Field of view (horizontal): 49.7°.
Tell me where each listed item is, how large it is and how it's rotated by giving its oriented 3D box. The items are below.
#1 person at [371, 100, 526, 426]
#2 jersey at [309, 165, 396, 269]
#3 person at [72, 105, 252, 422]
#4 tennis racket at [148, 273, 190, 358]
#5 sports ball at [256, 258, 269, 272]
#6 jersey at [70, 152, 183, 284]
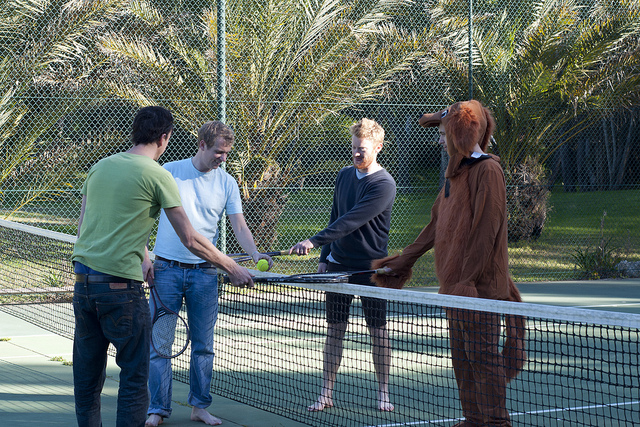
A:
[{"bbox_3d":[1.359,0.472,6.639,1.286,2.543,0.647,4,2,27],"label":"person"},{"bbox_3d":[0.328,0.069,8.068,0.932,1.326,0.983,9,8,-16],"label":"jersey"},{"bbox_3d":[-1.704,0.495,6.480,1.199,2.980,0.412,3,2,-20],"label":"person"},{"bbox_3d":[-1.765,1.054,7.595,0.429,1.193,0.075,3,-41,-33],"label":"tennis racket"},{"bbox_3d":[-0.608,0.559,7.353,0.120,0.127,0.134,-24,4,15],"label":"sports ball"},{"bbox_3d":[-1.894,0.026,6.563,1.121,1.183,0.611,10,-3,22],"label":"jersey"}]
